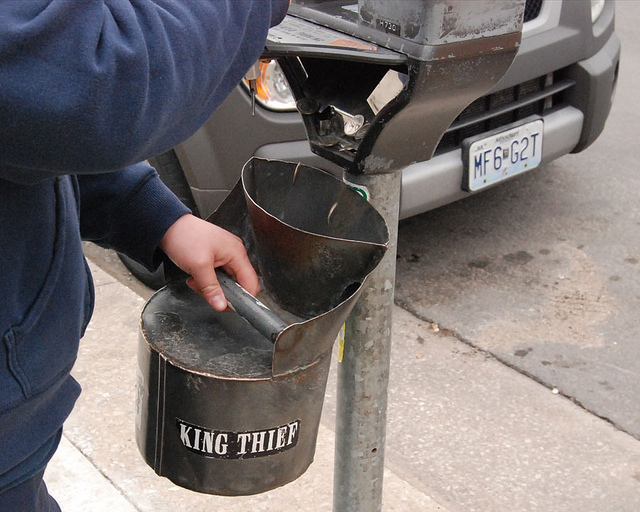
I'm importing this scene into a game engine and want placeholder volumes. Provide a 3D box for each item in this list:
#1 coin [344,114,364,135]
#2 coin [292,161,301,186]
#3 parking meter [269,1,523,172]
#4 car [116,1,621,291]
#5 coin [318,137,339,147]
[{"bbox_3d":[0.064,-0.253,1.334,0.036,0.008,0.031,-26,8,14],"label":"coin"},{"bbox_3d":[-0.053,-0.171,1.447,0.012,0.054,0.012,12,41,-10],"label":"coin"},{"bbox_3d":[0.113,-0.312,1.312,0.429,0.257,0.394,-4,28,-29],"label":"parking meter"},{"bbox_3d":[0.464,-0.705,3.578,2.415,1.160,1.348,-25,36,-10],"label":"car"},{"bbox_3d":[0.015,-0.225,1.359,0.026,0.007,0.024,-5,24,2],"label":"coin"}]
